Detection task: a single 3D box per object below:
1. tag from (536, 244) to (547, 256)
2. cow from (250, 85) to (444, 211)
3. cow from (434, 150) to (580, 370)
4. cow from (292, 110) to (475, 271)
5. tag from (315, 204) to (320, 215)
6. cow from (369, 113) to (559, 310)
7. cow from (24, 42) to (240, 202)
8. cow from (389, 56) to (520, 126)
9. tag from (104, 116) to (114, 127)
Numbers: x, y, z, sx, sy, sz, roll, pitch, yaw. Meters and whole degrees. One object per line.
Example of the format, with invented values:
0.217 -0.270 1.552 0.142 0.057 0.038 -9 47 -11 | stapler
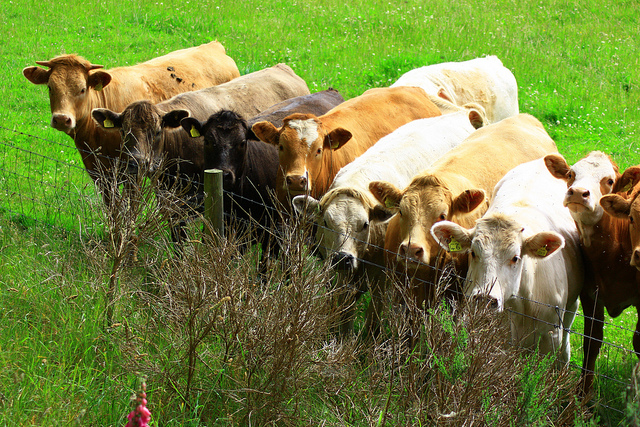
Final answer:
2.235 0.384 7.145 0.075 0.110 0.113 29 38 -10 | tag
0.456 -0.971 10.053 1.077 2.248 3.937 1 15 26 | cow
2.096 0.481 7.444 1.733 1.935 1.229 -10 24 -41 | cow
1.139 -0.460 9.241 0.965 1.953 3.689 -1 19 26 | cow
-0.025 -0.039 8.122 0.027 0.103 0.021 20 -7 2 | tag
1.931 -0.307 8.839 1.121 2.108 3.747 6 22 30 | cow
-2.632 -1.457 11.576 1.107 2.287 3.705 10 20 34 | cow
2.387 -2.275 12.663 3.072 1.893 1.020 -12 14 -44 | cow
-2.822 -1.230 9.544 0.122 0.200 0.021 0 4 1 | tag
